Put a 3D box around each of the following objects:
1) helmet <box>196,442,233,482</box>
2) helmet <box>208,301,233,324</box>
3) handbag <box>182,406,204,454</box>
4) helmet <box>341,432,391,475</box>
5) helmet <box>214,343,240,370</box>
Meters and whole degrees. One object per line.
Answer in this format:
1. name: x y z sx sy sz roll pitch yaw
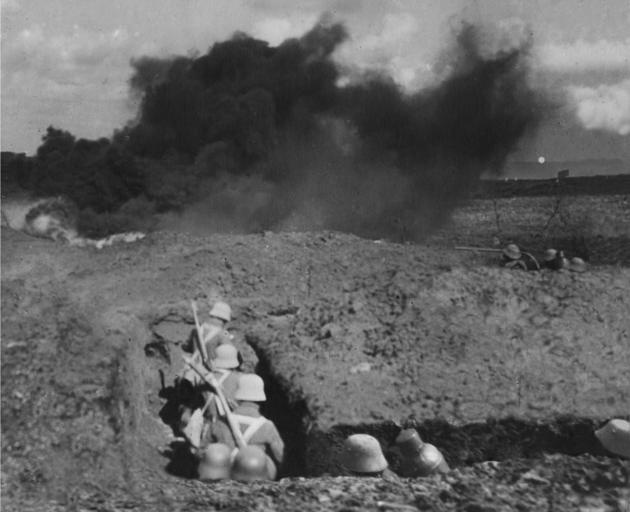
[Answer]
1. helmet: -0.862 1.824 8.093 0.293 0.345 0.147 0 8 -7
2. helmet: -0.873 0.529 8.750 0.152 0.153 0.187 28 9 1
3. handbag: -1.080 1.576 8.376 0.068 0.343 0.272 5 -14 -40
4. helmet: 0.454 1.746 8.160 0.310 0.274 0.453 3 -2 -12
5. helmet: -0.802 0.937 8.464 0.164 0.170 0.217 3 11 7
